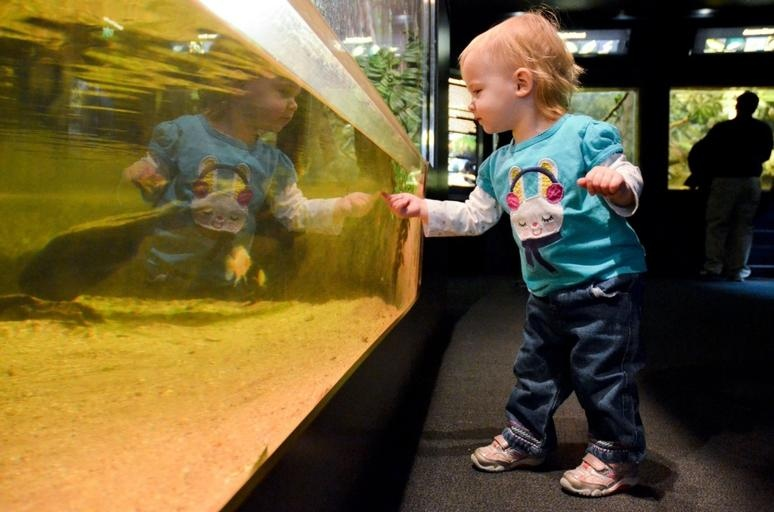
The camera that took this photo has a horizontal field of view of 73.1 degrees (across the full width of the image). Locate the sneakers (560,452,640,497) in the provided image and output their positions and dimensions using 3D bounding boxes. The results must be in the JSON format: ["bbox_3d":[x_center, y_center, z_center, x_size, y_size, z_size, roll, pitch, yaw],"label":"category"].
[{"bbox_3d":[0.392,0.404,0.982,0.149,0.064,0.058,4,-7,-16],"label":"sneakers"}]

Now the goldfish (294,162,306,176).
[{"bbox_3d":[-0.098,-0.101,0.587,0.004,0.012,0.013,6,7,36],"label":"goldfish"}]

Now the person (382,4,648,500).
[{"bbox_3d":[0.255,-0.007,1.089,0.506,0.937,0.471,1,2,37],"label":"person"}]

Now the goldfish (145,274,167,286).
[{"bbox_3d":[-0.181,0.018,0.410,0.003,0.010,0.018,2,5,32],"label":"goldfish"}]

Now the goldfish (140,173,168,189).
[{"bbox_3d":[-0.183,-0.059,0.406,0.004,0.014,0.026,2,5,27],"label":"goldfish"}]

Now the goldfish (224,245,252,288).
[{"bbox_3d":[-0.136,0.008,0.475,0.009,0.030,0.024,9,-2,26],"label":"goldfish"}]

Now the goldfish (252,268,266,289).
[{"bbox_3d":[-0.123,0.021,0.507,0.004,0.014,0.016,2,7,18],"label":"goldfish"}]

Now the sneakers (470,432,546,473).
[{"bbox_3d":[0.240,0.398,1.060,0.147,0.062,0.056,4,-6,-13],"label":"sneakers"}]

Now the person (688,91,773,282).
[{"bbox_3d":[2.824,-0.591,4.368,0.382,1.508,0.584,-3,5,-25],"label":"person"}]
